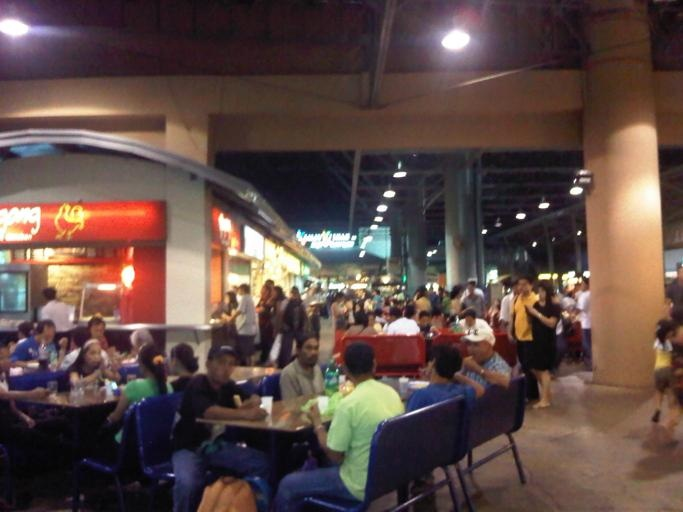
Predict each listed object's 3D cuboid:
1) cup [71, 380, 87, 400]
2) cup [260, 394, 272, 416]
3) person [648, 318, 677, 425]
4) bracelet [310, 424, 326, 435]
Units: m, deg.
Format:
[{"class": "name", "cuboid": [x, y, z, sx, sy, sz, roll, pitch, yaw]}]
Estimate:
[{"class": "cup", "cuboid": [-2.951, 1.492, 6.638, 0.179, 0.219, 0.183, 2, -6, 0]}, {"class": "cup", "cuboid": [-0.734, 1.482, 5.910, 0.143, 0.170, 0.141, 2, 0, 0]}, {"class": "person", "cuboid": [4.188, 1.528, 7.799, 0.263, 1.386, 0.755, -4, -5, 22]}, {"class": "bracelet", "cuboid": [-0.224, 1.564, 5.424, 0.131, 0.053, 0.102, -1, -4, 26]}]
